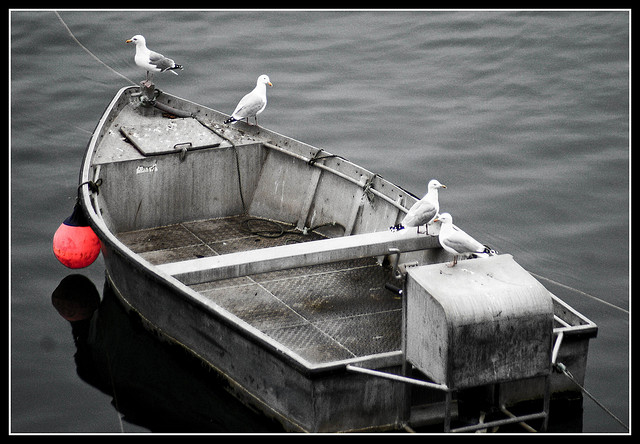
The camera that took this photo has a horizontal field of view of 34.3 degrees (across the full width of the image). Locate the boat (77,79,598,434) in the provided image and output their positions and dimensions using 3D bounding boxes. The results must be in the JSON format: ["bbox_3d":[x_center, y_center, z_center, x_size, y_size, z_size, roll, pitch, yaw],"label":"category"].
[{"bbox_3d":[-0.572,0.387,16.693,5.378,2.327,10.029,-13,27,-31],"label":"boat"}]

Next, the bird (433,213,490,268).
[{"bbox_3d":[1.934,0.264,14.047,0.906,0.548,0.374,12,17,19],"label":"bird"}]
